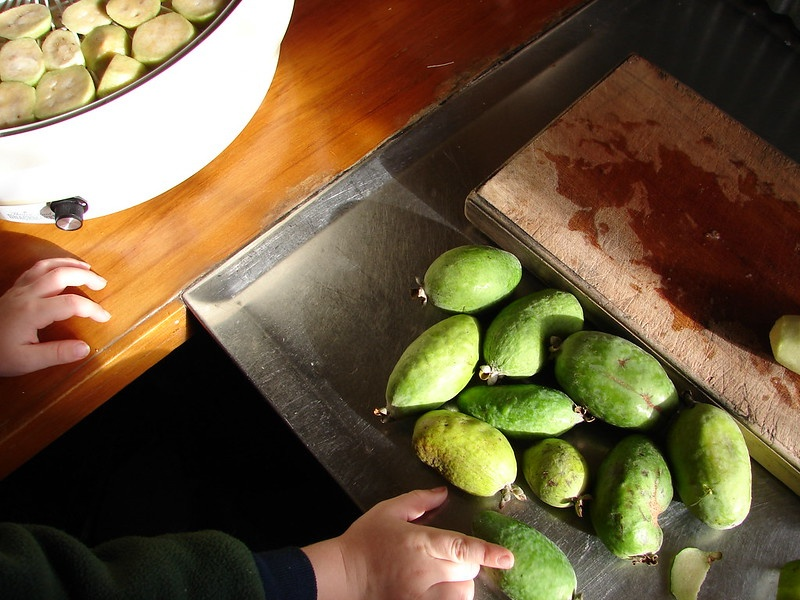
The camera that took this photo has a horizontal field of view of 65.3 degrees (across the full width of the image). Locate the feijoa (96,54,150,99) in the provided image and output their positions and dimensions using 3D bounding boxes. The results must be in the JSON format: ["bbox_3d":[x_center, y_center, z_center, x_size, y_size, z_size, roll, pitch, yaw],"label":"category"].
[{"bbox_3d":[-0.342,-0.273,0.762,0.057,0.023,0.055,2,49,55],"label":"feijoa"}]
